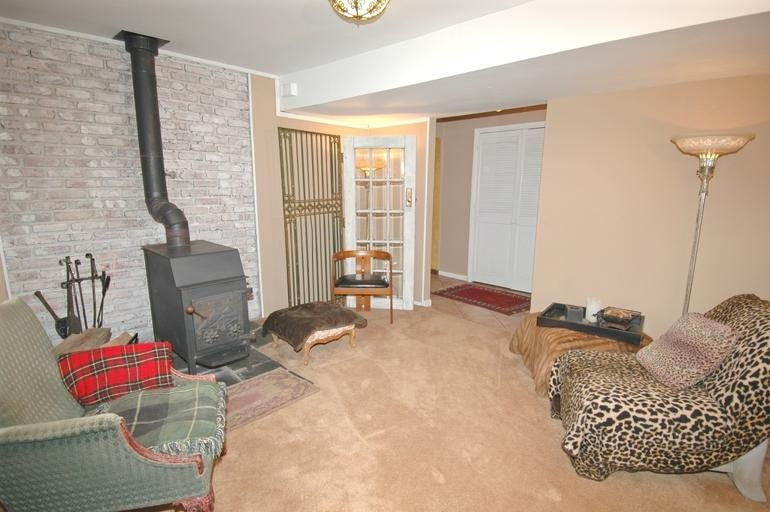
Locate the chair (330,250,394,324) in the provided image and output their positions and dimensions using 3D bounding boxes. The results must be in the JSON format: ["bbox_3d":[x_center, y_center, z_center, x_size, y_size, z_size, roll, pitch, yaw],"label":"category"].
[{"bbox_3d":[-0.223,0.414,6.366,1.106,1.049,0.868,-1,6,4],"label":"chair"}]

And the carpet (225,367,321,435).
[{"bbox_3d":[-1.147,1.301,4.594,0.877,0.220,0.574,-6,13,-39],"label":"carpet"}]

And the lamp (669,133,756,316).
[{"bbox_3d":[2.911,-0.269,4.627,0.603,1.733,0.646,9,15,30],"label":"lamp"}]

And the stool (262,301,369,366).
[{"bbox_3d":[-0.776,0.796,5.358,0.881,0.467,0.673,-5,12,-31],"label":"stool"}]

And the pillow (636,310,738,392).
[{"bbox_3d":[2.340,0.733,3.818,0.219,0.568,0.559,37,11,-16],"label":"pillow"}]

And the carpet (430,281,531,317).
[{"bbox_3d":[1.515,0.591,7.193,1.093,0.075,1.491,-7,12,-39],"label":"carpet"}]
